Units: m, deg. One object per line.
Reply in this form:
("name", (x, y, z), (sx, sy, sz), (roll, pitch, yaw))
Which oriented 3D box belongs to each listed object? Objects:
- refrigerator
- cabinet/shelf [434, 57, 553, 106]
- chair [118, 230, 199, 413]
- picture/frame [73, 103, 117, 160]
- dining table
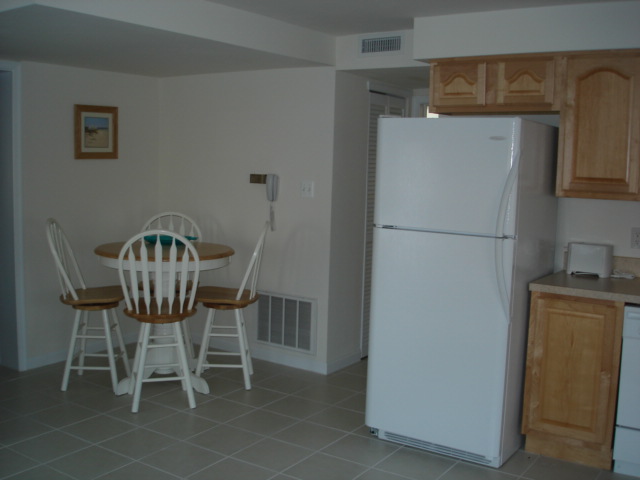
("refrigerator", (0.896, 0.313, 3.360), (1.128, 2.166, 0.570), (3, 9, 9))
("cabinet/shelf", (1.252, -1.064, 3.817), (0.843, 0.398, 0.439), (1, -7, 10))
("chair", (-1.202, 0.579, 3.907), (0.605, 1.287, 0.603), (0, 1, 24))
("picture/frame", (-2.090, -1.008, 4.752), (0.040, 0.604, 0.519), (7, 10, 41))
("dining table", (-1.347, 0.511, 4.346), (1.128, 0.994, 1.030), (-2, 15, -39))
